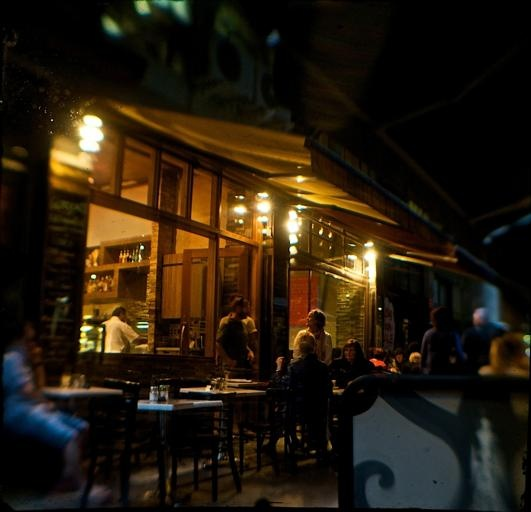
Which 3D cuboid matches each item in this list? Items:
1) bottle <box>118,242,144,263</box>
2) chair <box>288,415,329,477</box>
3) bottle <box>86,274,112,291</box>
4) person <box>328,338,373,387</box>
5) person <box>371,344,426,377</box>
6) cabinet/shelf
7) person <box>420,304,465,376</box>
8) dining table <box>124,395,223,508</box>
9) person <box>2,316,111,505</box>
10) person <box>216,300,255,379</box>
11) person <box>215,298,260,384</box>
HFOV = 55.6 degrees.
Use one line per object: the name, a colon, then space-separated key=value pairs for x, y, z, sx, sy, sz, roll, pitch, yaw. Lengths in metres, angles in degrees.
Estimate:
bottle: x=-2.400 y=-0.082 z=8.959 sx=0.249 sy=0.290 sz=0.146 roll=-13 pitch=22 yaw=-28
chair: x=0.453 y=2.306 z=6.315 sx=0.538 sy=0.768 sz=0.509 roll=12 pitch=-22 yaw=-34
bottle: x=-2.892 y=0.449 z=8.840 sx=0.449 sy=0.347 sz=0.117 roll=6 pitch=-11 yaw=-19
person: x=1.129 y=1.425 z=6.709 sx=0.509 sy=0.679 sz=1.350 roll=3 pitch=-11 yaw=-3
person: x=2.372 y=1.868 z=8.913 sx=0.953 sy=0.517 sz=1.449 roll=-4 pitch=-11 yaw=24
cabinet/shelf: x=-2.558 y=0.237 z=8.866 sx=1.283 sy=1.014 sz=0.511 roll=-2 pitch=-14 yaw=-2
person: x=2.013 y=0.941 z=5.774 sx=0.461 sy=0.780 sz=0.492 roll=-1 pitch=-11 yaw=17
dining table: x=-0.890 y=1.724 z=4.905 sx=0.894 sy=0.971 sz=0.911 roll=5 pitch=-11 yaw=-29
person: x=-1.632 y=1.121 z=3.709 sx=0.588 sy=1.186 sz=0.673 roll=7 pitch=-11 yaw=-23
person: x=-0.461 y=1.257 z=7.861 sx=0.567 sy=1.196 sz=0.897 roll=2 pitch=-10 yaw=-1
person: x=-0.419 y=1.518 z=7.845 sx=0.632 sy=1.854 sz=0.476 roll=-4 pitch=18 yaw=-26
